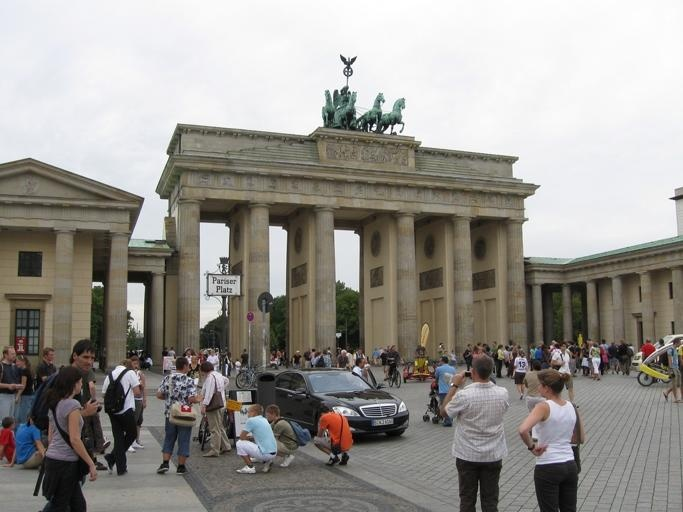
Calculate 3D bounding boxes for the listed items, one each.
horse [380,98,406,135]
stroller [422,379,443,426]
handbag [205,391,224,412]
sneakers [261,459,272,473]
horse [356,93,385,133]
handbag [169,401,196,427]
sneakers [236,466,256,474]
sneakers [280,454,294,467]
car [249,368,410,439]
[{"bbox_3d":[3.825,-10.527,55.490,0.800,2.797,3.270,3,0,-31],"label":"horse"},{"bbox_3d":[2.637,4.147,20.484,0.491,1.003,0.620,0,-3,-16],"label":"stroller"},{"bbox_3d":[-2.709,3.067,15.264,0.128,0.340,0.331,6,-27,-45],"label":"handbag"},{"bbox_3d":[-1.465,4.120,14.016,0.127,0.324,0.108,17,37,8],"label":"sneakers"},{"bbox_3d":[2.608,-10.806,55.551,0.894,2.704,3.406,-3,-4,-18],"label":"horse"},{"bbox_3d":[-3.030,3.013,13.693,0.345,0.377,0.199,14,-28,-21],"label":"handbag"},{"bbox_3d":[-1.815,4.098,13.819,0.365,0.176,0.153,1,-17,10],"label":"sneakers"},{"bbox_3d":[-1.113,4.103,14.496,0.330,0.141,0.110,-49,18,-27],"label":"sneakers"},{"bbox_3d":[-0.235,3.597,18.377,1.774,1.216,3.874,8,-14,-32],"label":"car"}]
